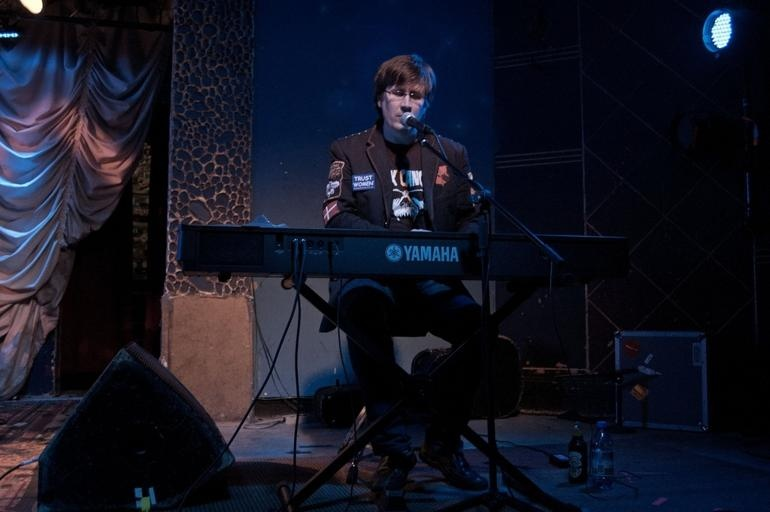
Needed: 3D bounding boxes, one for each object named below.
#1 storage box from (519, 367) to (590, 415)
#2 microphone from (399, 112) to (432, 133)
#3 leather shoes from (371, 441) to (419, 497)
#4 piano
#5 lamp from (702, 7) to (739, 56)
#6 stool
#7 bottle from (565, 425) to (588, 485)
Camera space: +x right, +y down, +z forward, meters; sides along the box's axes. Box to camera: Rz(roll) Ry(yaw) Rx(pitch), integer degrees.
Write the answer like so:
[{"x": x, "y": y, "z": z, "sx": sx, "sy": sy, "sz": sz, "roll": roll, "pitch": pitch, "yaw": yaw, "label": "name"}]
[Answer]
[{"x": 1.413, "y": 1.097, "z": 6.719, "sx": 0.598, "sy": 0.431, "sz": 0.344, "roll": 3, "pitch": 9, "yaw": 43, "label": "storage box"}, {"x": 0.190, "y": -0.801, "z": 4.853, "sx": 0.080, "sy": 0.085, "sz": 0.271, "roll": -33, "pitch": -18, "yaw": 13, "label": "microphone"}, {"x": 0.063, "y": 1.352, "z": 5.009, "sx": 0.271, "sy": 0.398, "sz": 0.218, "roll": 10, "pitch": 12, "yaw": -47, "label": "leather shoes"}, {"x": 0.118, "y": -0.008, "z": 4.752, "sx": 2.660, "sy": 0.321, "sz": 0.223, "roll": 2, "pitch": -4, "yaw": -3, "label": "piano"}, {"x": 2.614, "y": -1.766, "z": 6.206, "sx": 0.274, "sy": 0.302, "sz": 0.243, "roll": 0, "pitch": 3, "yaw": -21, "label": "lamp"}, {"x": -0.023, "y": 0.640, "z": 4.983, "sx": 0.412, "sy": 1.376, "sz": 0.692, "roll": -5, "pitch": 14, "yaw": -14, "label": "stool"}, {"x": 1.277, "y": 1.323, "z": 5.249, "sx": 0.123, "sy": 0.355, "sz": 0.209, "roll": 1, "pitch": -4, "yaw": 13, "label": "bottle"}]
